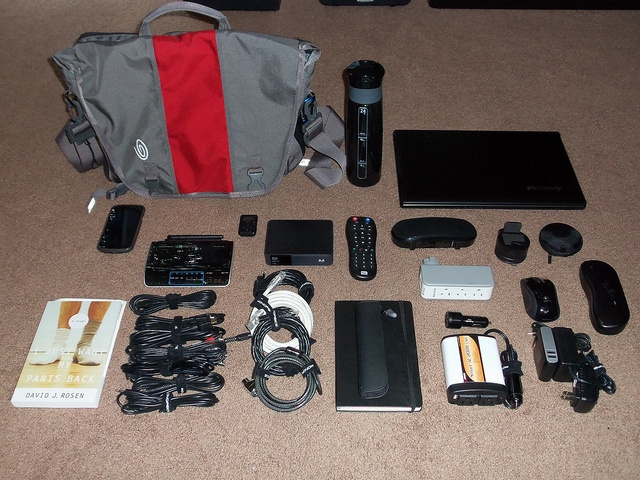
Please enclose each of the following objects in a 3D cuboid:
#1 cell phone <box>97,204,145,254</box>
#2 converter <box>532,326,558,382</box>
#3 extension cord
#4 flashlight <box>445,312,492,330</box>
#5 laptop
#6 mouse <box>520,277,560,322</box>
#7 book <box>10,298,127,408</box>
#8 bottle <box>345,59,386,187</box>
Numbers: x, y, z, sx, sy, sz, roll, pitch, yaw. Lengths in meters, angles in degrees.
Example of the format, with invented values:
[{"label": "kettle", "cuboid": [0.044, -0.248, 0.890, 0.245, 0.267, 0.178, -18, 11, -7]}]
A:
[{"label": "cell phone", "cuboid": [-0.522, -0.023, 1.594, 0.134, 0.205, 0.026, 2, -37, 1]}, {"label": "converter", "cuboid": [0.510, 0.262, 1.373, 0.031, 0.095, 0.084, 0, -38, 8]}, {"label": "extension cord", "cuboid": [0.330, 0.107, 1.474, 0.173, 0.084, 0.057, 1, 0, 11]}, {"label": "flashlight", "cuboid": [0.349, 0.193, 1.437, 0.096, 0.041, 0.041, 2, 33, -2]}, {"label": "laptop", "cuboid": [0.455, -0.193, 1.667, 0.496, 0.228, 0.144, 1, 0, 1]}, {"label": "mouse", "cuboid": [0.528, 0.145, 1.460, 0.089, 0.104, 0.049, 1, -1, 19]}, {"label": "book", "cuboid": [-0.583, 0.262, 1.422, 0.203, 0.226, 0.134, 1, 0, 5]}, {"label": "bottle", "cuboid": [0.115, -0.298, 1.586, 0.123, 0.301, 0.155, 4, 42, 6]}]
